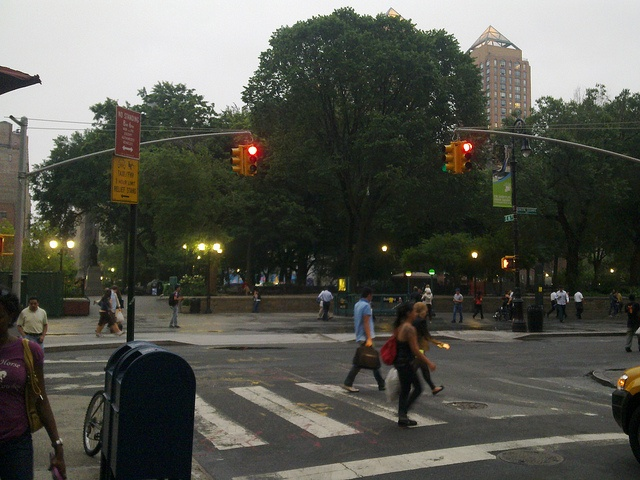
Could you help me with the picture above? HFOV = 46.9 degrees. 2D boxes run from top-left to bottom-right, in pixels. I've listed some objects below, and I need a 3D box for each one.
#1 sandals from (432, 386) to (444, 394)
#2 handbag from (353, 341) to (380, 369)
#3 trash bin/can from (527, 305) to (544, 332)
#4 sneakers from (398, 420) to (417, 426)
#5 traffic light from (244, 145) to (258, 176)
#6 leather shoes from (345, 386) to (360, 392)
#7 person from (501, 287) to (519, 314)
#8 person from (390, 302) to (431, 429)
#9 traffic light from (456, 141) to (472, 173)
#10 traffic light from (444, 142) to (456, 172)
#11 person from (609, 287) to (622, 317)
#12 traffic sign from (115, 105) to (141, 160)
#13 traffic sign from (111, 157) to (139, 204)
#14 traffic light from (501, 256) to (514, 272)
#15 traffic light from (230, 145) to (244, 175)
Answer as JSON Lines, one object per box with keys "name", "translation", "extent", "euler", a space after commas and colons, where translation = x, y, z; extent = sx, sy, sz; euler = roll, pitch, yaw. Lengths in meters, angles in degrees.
{"name": "sandals", "translation": [2.377, 3.032, 14.968], "extent": [0.190, 0.170, 0.519], "euler": [0, -4, 14]}
{"name": "handbag", "translation": [1.000, 2.577, 16.189], "extent": [0.565, 0.551, 0.467], "euler": [0, -3, 2]}
{"name": "trash bin/can", "translation": [8.928, 3.289, 30.777], "extent": [0.572, 1.086, 0.559], "euler": [0, -3, 14]}
{"name": "sneakers", "translation": [1.663, 3.479, 14.074], "extent": [0.329, 0.146, 0.134], "euler": [-2, 2, -7]}
{"name": "traffic light", "translation": [-2.256, -2.580, 24.377], "extent": [0.463, 1.045, 0.920], "euler": [1, -3, -4]}
{"name": "leather shoes", "translation": [0.702, 3.360, 16.604], "extent": [0.336, 0.147, 0.122], "euler": [1, 7, -13]}
{"name": "person", "translation": [10.047, 3.354, 39.366], "extent": [1.069, 1.338, 1.957], "euler": [1, -3, 0]}
{"name": "person", "translation": [1.741, 2.416, 14.450], "extent": [0.641, 2.345, 0.781], "euler": [0, -3, 6]}
{"name": "traffic light", "translation": [4.629, -2.721, 23.857], "extent": [0.489, 1.094, 0.893], "euler": [0, -3, 13]}
{"name": "traffic light", "translation": [4.203, -2.695, 24.115], "extent": [0.401, 0.972, 0.477], "euler": [0, -3, 10]}
{"name": "person", "translation": [17.941, 3.812, 45.026], "extent": [0.705, 1.522, 1.740], "euler": [-1, -4, 21]}
{"name": "traffic sign", "translation": [-4.021, -2.227, 15.460], "extent": [0.184, 1.058, 0.746], "euler": [-1, -4, 33]}
{"name": "traffic sign", "translation": [-4.069, -1.246, 15.415], "extent": [0.133, 1.262, 0.852], "euler": [3, 6, 30]}
{"name": "traffic light", "translation": [7.883, 0.957, 30.946], "extent": [0.545, 0.585, 0.908], "euler": [-1, -4, 17]}
{"name": "traffic light", "translation": [-2.688, -2.618, 24.195], "extent": [0.371, 1.012, 0.577], "euler": [1, -3, -8]}
